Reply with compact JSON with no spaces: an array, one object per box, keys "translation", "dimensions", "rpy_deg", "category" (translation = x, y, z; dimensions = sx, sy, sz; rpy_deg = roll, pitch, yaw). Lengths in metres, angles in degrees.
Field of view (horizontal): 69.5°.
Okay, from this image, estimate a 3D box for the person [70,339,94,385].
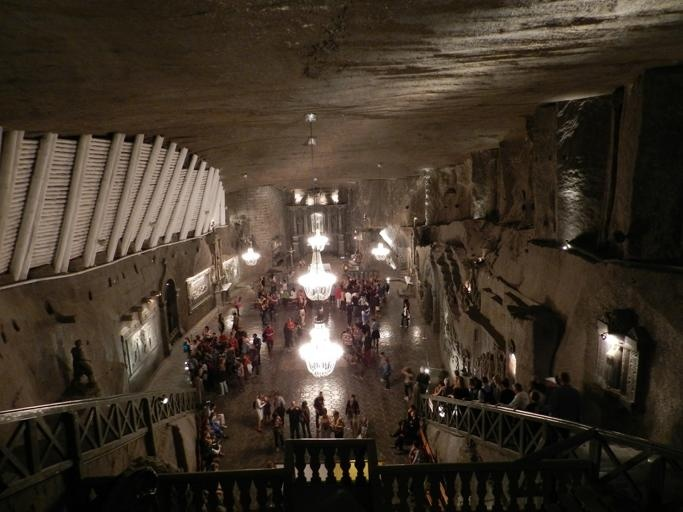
[{"translation":[-4.673,1.919,8.898],"dimensions":[0.342,0.957,0.306],"rpy_deg":[9,18,37],"category":"person"}]
